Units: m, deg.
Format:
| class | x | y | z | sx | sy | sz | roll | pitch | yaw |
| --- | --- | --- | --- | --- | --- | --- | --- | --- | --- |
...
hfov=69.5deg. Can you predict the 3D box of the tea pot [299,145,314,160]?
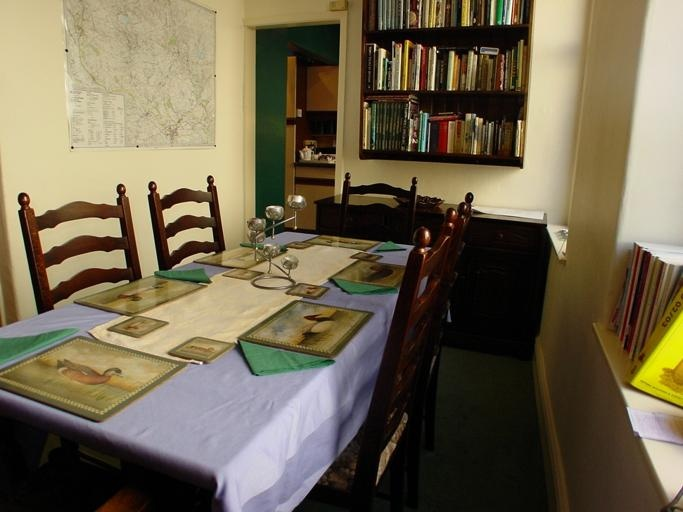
| class | x | y | z | sx | sy | sz | roll | pitch | yaw |
| --- | --- | --- | --- | --- | --- | --- | --- | --- | --- |
| tea pot | -0.492 | -1.436 | 6.893 | 0.152 | 0.262 | 0.252 | 9 | 12 | 28 |
